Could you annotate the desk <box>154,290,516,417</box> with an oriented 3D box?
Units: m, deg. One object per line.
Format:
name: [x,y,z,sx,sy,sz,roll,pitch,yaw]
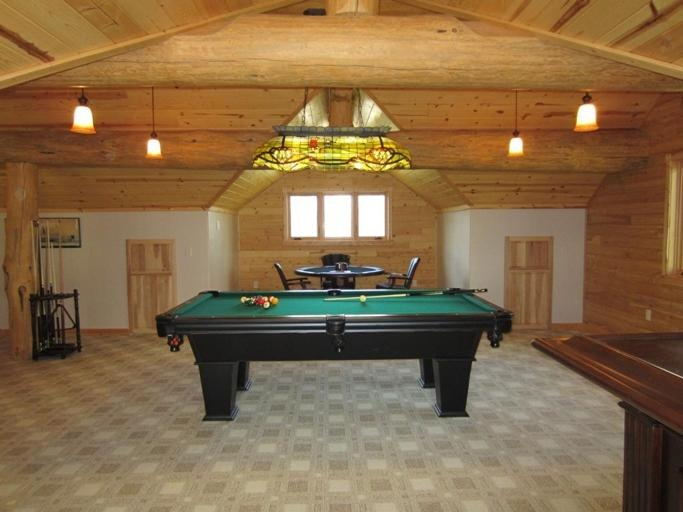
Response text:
desk: [-0.077,0.950,4.874,2.979,1.060,1.005,-1,7,-3]

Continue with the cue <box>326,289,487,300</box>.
cue: [0.625,0.399,5.327,1.529,0.102,0.080,-2,-23,0]

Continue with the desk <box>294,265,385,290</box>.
desk: [-0.046,0.329,7.688,1.741,0.314,1.031,2,3,-1]

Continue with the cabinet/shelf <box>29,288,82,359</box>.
cabinet/shelf: [-3.738,0.857,6.723,0.644,0.774,0.755,3,7,-18]
